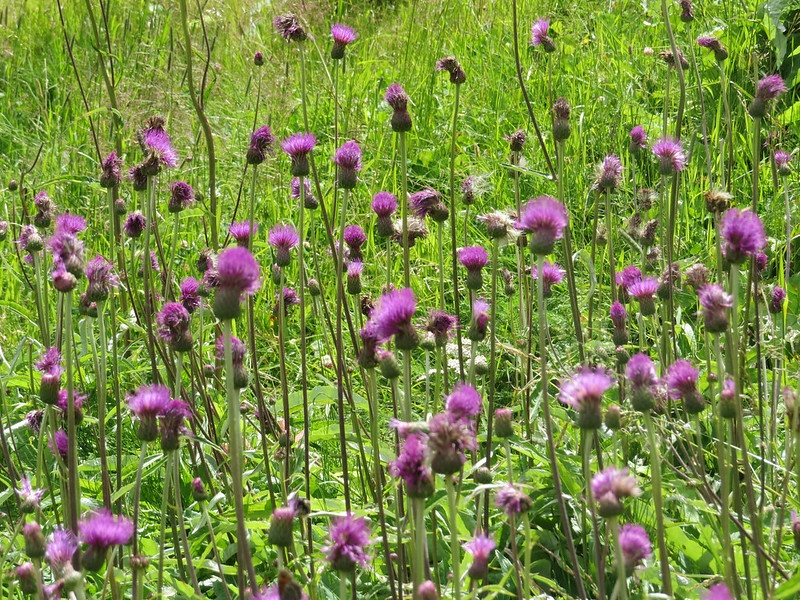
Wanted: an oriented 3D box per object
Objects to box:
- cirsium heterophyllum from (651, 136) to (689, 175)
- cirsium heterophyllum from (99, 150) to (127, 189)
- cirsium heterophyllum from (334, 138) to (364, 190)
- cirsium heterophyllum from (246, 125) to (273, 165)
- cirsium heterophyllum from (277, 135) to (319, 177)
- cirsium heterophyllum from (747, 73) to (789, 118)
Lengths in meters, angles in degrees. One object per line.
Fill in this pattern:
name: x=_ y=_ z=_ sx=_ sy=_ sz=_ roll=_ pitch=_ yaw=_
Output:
cirsium heterophyllum: x=1.358 y=-0.722 z=5.118 sx=0.143 sy=0.210 sz=0.171 roll=15 pitch=15 yaw=13
cirsium heterophyllum: x=-1.349 y=-0.581 z=4.817 sx=0.088 sy=0.197 sz=0.109 roll=-3 pitch=36 yaw=-22
cirsium heterophyllum: x=-0.252 y=-0.610 z=4.617 sx=0.145 sy=0.302 sz=0.161 roll=-1 pitch=1 yaw=-22
cirsium heterophyllum: x=-0.661 y=-0.719 z=4.799 sx=0.086 sy=0.212 sz=0.115 roll=18 pitch=0 yaw=1
cirsium heterophyllum: x=-0.481 y=-0.677 z=4.683 sx=0.135 sy=0.208 sz=0.165 roll=-5 pitch=7 yaw=-1
cirsium heterophyllum: x=1.853 y=-0.991 z=5.147 sx=0.144 sy=0.271 sz=0.383 roll=5 pitch=29 yaw=27
